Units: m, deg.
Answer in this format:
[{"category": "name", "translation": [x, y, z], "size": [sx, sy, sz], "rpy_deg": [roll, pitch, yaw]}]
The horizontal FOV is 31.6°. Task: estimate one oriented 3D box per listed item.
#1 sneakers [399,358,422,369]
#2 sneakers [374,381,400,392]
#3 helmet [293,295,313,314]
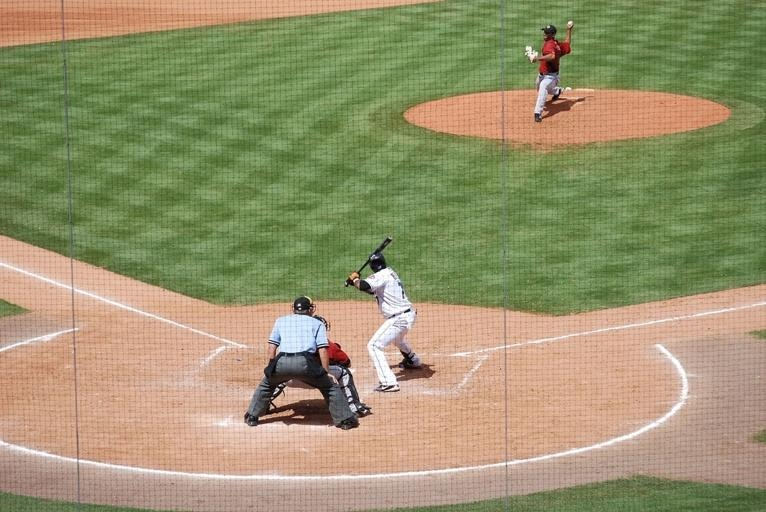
[{"category": "sneakers", "translation": [0.524, 2.150, 27.064], "size": [0.437, 0.150, 0.192], "rpy_deg": [2, 6, 9]}, {"category": "sneakers", "translation": [0.022, 2.534, 26.269], "size": [0.582, 0.186, 0.168], "rpy_deg": [2, 5, 7]}, {"category": "helmet", "translation": [-1.479, 0.905, 25.251], "size": [0.344, 0.259, 0.350], "rpy_deg": [5, 15, 11]}]
